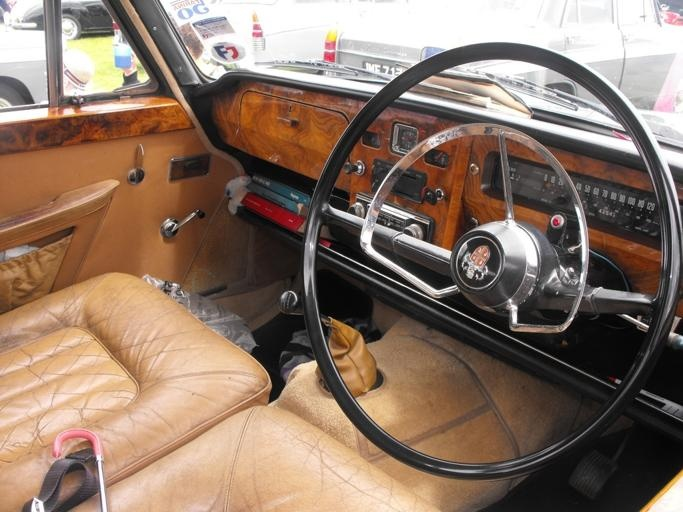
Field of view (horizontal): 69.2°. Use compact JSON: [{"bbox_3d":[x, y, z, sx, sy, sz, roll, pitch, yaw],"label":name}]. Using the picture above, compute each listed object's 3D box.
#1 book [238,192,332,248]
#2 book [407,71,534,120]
[{"bbox_3d":[-0.264,-0.115,2.078,0.326,0.282,0.075,27,78,28],"label":"book"},{"bbox_3d":[0.299,-0.410,1.244,0.059,0.095,0.497,-8,25,-28],"label":"book"}]
